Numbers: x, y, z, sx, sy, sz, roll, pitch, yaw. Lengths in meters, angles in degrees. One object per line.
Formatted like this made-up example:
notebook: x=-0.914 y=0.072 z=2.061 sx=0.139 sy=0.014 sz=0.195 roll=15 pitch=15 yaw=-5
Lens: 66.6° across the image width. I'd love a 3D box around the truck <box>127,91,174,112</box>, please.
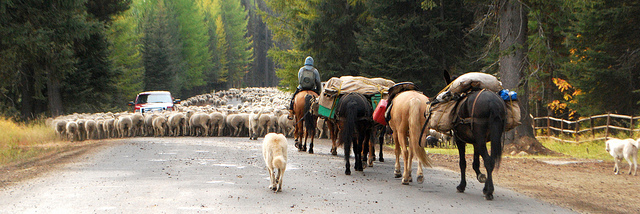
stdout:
truck: x=-29.157 y=-0.965 z=86.498 sx=4.627 sy=2.664 sz=6.313 roll=0 pitch=-10 yaw=-16
